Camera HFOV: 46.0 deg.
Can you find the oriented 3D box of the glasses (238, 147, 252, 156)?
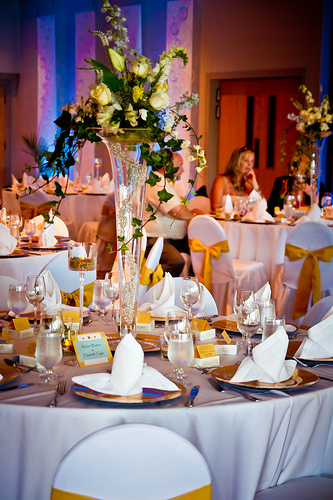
[{"bbox_3d":[1.070,-1.355,5.315,0.111,0.142,0.135,-44,27,-27],"label":"glasses"}]

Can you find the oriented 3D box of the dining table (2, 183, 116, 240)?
[{"bbox_3d":[-1.559,-0.631,6.676,1.356,1.018,1.463,2,13,4],"label":"dining table"}]

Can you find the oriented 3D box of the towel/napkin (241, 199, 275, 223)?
[{"bbox_3d":[0.990,-0.423,4.256,0.337,0.158,0.443,6,40,16],"label":"towel/napkin"}]

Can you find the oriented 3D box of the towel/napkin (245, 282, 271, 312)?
[{"bbox_3d":[0.355,0.186,1.595,0.088,0.150,0.146,-1,-6,11],"label":"towel/napkin"}]

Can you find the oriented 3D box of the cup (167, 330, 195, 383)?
[{"bbox_3d":[0.036,0.263,0.974,0.060,0.104,0.060,0,5,0],"label":"cup"}]

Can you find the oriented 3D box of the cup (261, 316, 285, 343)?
[{"bbox_3d":[0.315,0.234,1.167,0.070,0.066,0.070,1,-2,0],"label":"cup"}]

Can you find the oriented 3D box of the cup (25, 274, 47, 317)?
[{"bbox_3d":[-0.489,0.150,1.464,0.063,0.130,0.157,1,7,-19],"label":"cup"}]

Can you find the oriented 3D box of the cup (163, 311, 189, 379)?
[{"bbox_3d":[0.033,0.248,0.994,0.056,0.147,0.056,-3,-18,-1],"label":"cup"}]

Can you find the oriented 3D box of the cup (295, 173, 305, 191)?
[{"bbox_3d":[1.555,-0.799,4.563,0.097,0.174,0.169,5,7,21],"label":"cup"}]

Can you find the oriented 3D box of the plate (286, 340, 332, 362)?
[{"bbox_3d":[0.467,0.337,1.313,0.171,0.026,0.056,-3,1,26],"label":"plate"}]

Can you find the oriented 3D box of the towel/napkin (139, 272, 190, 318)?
[{"bbox_3d":[-0.014,0.176,1.741,0.246,0.198,0.195,8,19,26],"label":"towel/napkin"}]

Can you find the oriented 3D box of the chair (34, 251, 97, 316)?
[{"bbox_3d":[-0.502,0.156,2.240,0.378,0.362,0.327,6,6,-42],"label":"chair"}]

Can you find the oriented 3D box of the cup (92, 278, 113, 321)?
[{"bbox_3d":[-0.260,0.197,1.602,0.082,0.151,0.076,0,13,0],"label":"cup"}]

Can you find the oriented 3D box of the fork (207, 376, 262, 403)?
[{"bbox_3d":[0.163,0.322,0.967,0.032,0.026,0.224,17,-4,-17],"label":"fork"}]

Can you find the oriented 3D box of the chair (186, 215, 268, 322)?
[{"bbox_3d":[0.611,0.036,3.926,0.682,0.958,0.627,-24,29,-33],"label":"chair"}]

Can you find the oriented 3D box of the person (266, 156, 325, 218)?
[{"bbox_3d":[1.769,-0.721,5.853,0.533,0.425,1.553,4,-30,-5],"label":"person"}]

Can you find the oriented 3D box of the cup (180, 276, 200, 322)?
[{"bbox_3d":[0.094,0.196,1.461,0.062,0.175,0.061,-4,17,1],"label":"cup"}]

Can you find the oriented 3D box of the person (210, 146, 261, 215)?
[{"bbox_3d":[0.999,-0.859,5.487,0.687,1.019,0.628,7,-1,13],"label":"person"}]
